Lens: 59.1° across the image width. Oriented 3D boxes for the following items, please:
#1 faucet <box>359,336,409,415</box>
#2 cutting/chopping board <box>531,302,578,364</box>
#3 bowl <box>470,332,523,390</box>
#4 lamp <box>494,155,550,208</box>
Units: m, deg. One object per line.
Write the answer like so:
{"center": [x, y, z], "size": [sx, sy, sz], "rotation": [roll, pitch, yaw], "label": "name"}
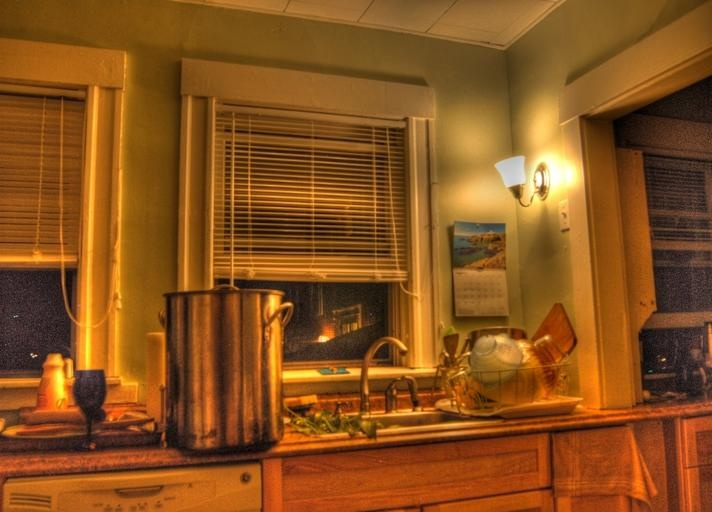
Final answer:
{"center": [0.135, 0.543, 3.015], "size": [0.221, 0.367, 0.708], "rotation": [0, 1, 4], "label": "faucet"}
{"center": [0.966, 0.382, 3.033], "size": [0.303, 0.213, 0.226], "rotation": [-3, -1, -11], "label": "cutting/chopping board"}
{"center": [0.611, 0.456, 2.746], "size": [0.223, 0.217, 0.113], "rotation": [1, -17, 30], "label": "bowl"}
{"center": [0.873, -0.387, 3.405], "size": [0.299, 0.306, 0.248], "rotation": [-5, -5, -25], "label": "lamp"}
